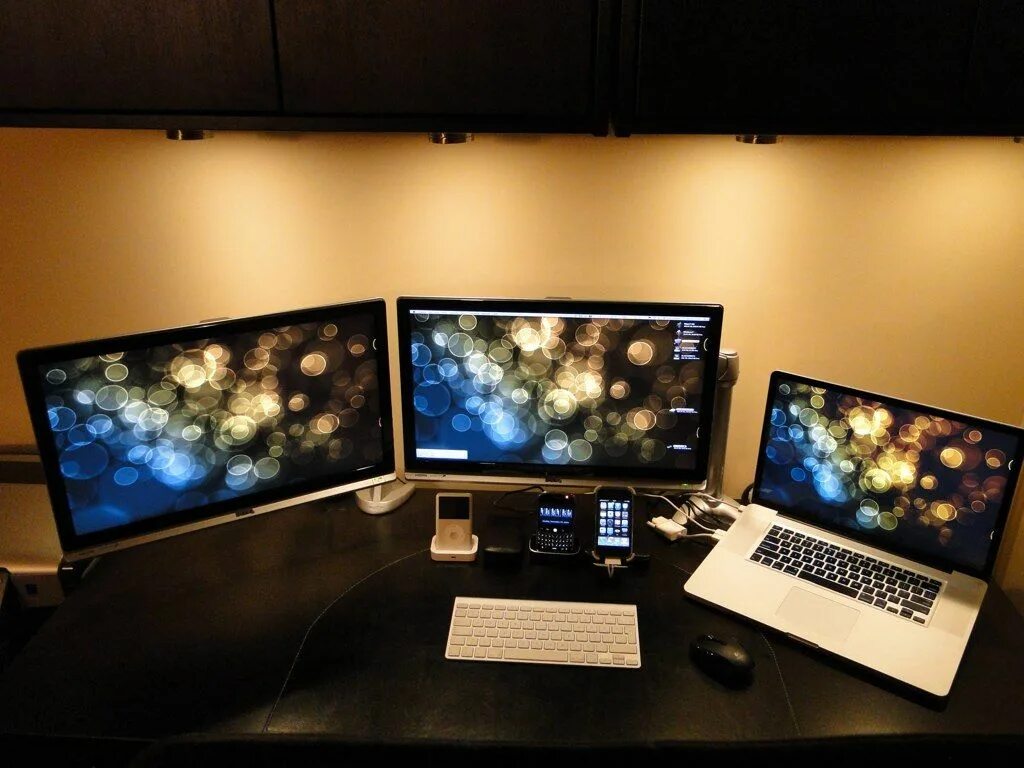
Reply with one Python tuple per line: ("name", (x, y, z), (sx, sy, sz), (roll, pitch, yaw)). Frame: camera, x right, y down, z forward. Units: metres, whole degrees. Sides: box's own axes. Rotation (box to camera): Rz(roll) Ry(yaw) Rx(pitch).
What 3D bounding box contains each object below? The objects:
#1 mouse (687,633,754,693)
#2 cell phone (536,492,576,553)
("mouse", (0.438, 0.566, 1.639), (0.069, 0.042, 0.125), (-22, 29, -29))
("cell phone", (0.105, 0.344, 1.928), (0.113, 0.128, 0.111), (0, 18, 0))
